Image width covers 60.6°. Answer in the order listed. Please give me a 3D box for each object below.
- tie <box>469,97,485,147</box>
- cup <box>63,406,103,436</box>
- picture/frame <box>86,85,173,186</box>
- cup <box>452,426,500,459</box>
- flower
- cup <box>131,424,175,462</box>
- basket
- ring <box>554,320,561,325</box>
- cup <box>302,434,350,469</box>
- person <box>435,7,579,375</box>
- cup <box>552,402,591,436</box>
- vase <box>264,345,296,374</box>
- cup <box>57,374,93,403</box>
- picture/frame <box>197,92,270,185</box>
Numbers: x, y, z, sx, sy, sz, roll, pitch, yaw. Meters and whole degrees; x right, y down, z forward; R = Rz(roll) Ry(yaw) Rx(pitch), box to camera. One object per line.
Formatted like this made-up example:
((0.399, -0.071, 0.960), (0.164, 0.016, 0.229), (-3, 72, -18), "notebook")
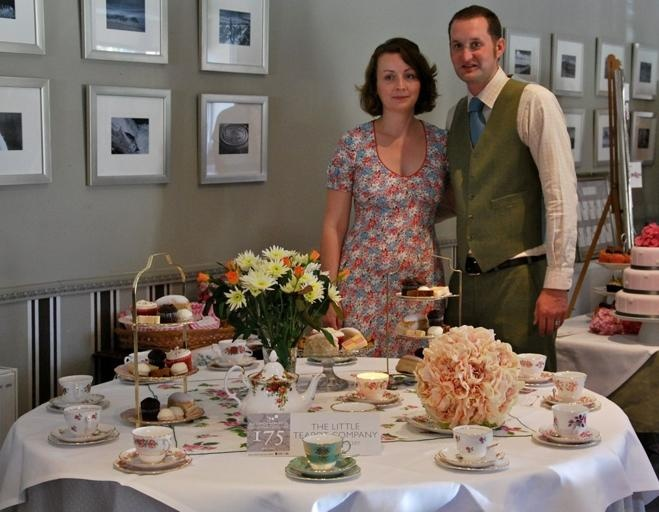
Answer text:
((0.715, -0.678, 2.755), (0.049, 0.199, 0.027), (-2, 5, 19), "tie")
((-0.729, 0.481, 1.657), (0.072, 0.072, 0.096), (-4, -10, 13), "cup")
((-1.217, -0.722, 3.331), (0.568, 0.707, 0.046), (-2, 5, -39), "picture/frame")
((0.381, 0.487, 1.494), (0.073, 0.071, 0.094), (-1, -10, 5), "cup")
((-0.214, 0.165, 1.969), (0.486, 0.392, 0.277), (-2, 5, -10), "flower")
((-0.469, 0.512, 1.498), (0.094, 0.083, 0.111), (4, -9, -31), "cup")
((-0.793, 0.407, 2.852), (0.413, 0.095, 0.314), (1, -2, -40), "basket")
((1.020, 0.296, 2.529), (0.026, 0.026, 0.027), (-1, 9, 0), "ring")
((-0.017, 0.510, 1.479), (0.103, 0.089, 0.116), (3, 4, -11), "cup")
((0.838, -0.320, 2.692), (0.629, 1.735, 0.340), (2, 6, 27), "person")
((0.705, 0.500, 1.661), (0.099, 0.093, 0.108), (4, -11, 1), "cup")
((-0.177, 0.346, 1.919), (0.083, 0.081, 0.102), (0, -2, 4), "vase")
((-0.905, 0.465, 2.011), (0.081, 0.072, 0.098), (1, 4, -7), "cup")
((-0.665, -0.792, 3.718), (0.576, 0.743, 0.048), (-2, 5, -36), "picture/frame")
